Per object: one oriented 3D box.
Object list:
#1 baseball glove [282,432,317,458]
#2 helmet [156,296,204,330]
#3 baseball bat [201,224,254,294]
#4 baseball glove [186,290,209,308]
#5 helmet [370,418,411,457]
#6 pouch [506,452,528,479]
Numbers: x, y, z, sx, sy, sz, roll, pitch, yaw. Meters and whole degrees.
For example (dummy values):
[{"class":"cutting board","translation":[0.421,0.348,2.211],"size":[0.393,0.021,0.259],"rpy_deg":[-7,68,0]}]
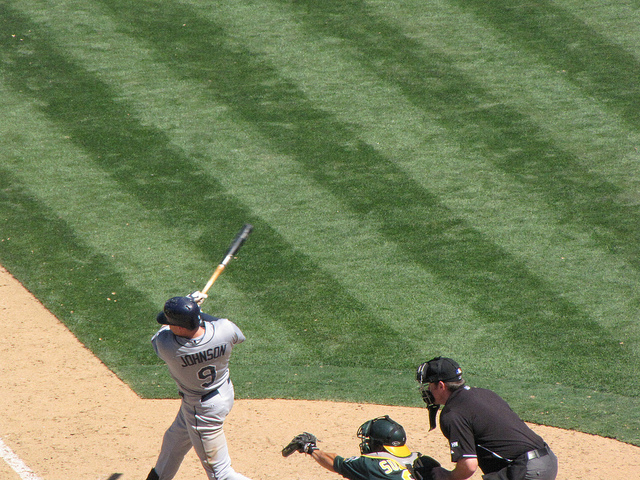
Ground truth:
[{"class":"baseball glove","translation":[-0.306,2.610,19.678],"size":[0.386,0.271,0.118],"rpy_deg":[-20,-63,32]},{"class":"helmet","translation":[-1.790,0.885,19.654],"size":[0.691,0.458,0.326],"rpy_deg":[2,-61,25]},{"class":"baseball bat","translation":[-1.367,0.332,22.953],"size":[0.196,1.600,0.178],"rpy_deg":[26,-47,13]},{"class":"baseball glove","translation":[-1.579,0.747,20.045],"size":[0.310,0.134,0.382],"rpy_deg":[8,-34,-10]},{"class":"helmet","translation":[0.881,2.483,19.333],"size":[0.527,0.280,0.389],"rpy_deg":[31,12,23]},{"class":"pouch","translation":[2.410,2.788,19.112],"size":[0.249,0.376,0.331],"rpy_deg":[2,-4,-26]}]
